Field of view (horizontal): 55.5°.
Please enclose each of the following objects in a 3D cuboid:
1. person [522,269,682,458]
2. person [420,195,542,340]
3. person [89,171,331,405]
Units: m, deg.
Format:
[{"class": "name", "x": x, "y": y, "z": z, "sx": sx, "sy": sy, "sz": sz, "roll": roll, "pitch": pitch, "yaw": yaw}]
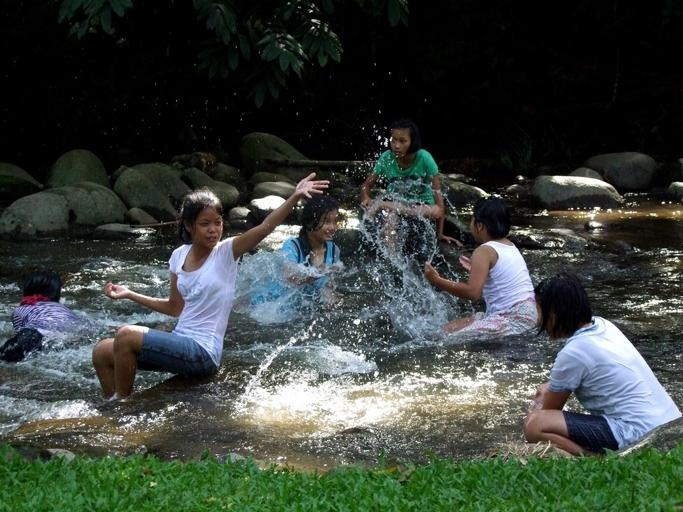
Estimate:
[{"class": "person", "x": 1.767, "y": 0.561, "z": 4.651, "sx": 1.059, "sy": 1.346, "sz": 1.148, "roll": 0, "pitch": 15, "yaw": 46}, {"class": "person", "x": 1.462, "y": 0.309, "z": 6.624, "sx": 1.076, "sy": 1.810, "sz": 0.974, "roll": -3, "pitch": 2, "yaw": 16}, {"class": "person", "x": -1.172, "y": 0.273, "z": 5.218, "sx": 1.617, "sy": 1.592, "sz": 0.531, "roll": -3, "pitch": 12, "yaw": -4}]
